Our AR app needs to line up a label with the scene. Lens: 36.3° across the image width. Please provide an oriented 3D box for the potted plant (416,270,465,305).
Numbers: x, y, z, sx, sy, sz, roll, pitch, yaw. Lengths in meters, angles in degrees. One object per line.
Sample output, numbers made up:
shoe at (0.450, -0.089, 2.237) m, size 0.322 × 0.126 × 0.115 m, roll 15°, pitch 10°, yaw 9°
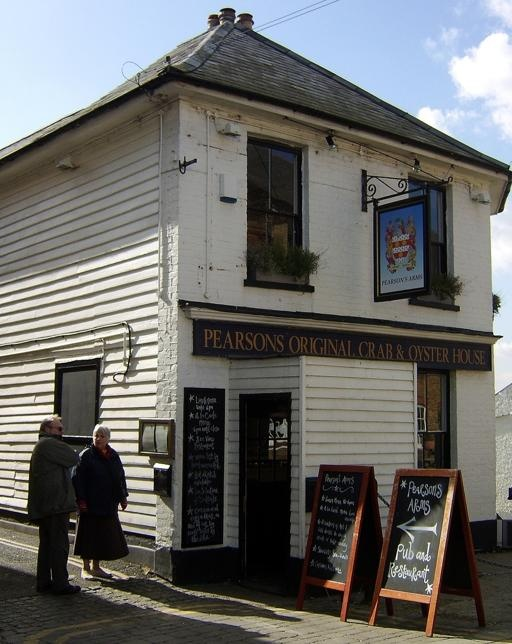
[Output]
potted plant at (2.851, -0.429, 11.979) m, size 0.600 × 0.357 × 0.639 m, roll 3°, pitch -7°, yaw -15°

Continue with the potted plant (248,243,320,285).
potted plant at (0.354, -0.712, 9.691) m, size 1.036 × 0.500 × 0.196 m, roll 6°, pitch -6°, yaw -36°

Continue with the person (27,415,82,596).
person at (-1.978, 1.767, 7.673) m, size 0.595 × 1.662 × 0.346 m, roll 0°, pitch -5°, yaw 27°

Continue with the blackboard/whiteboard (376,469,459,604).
blackboard/whiteboard at (1.417, 1.848, 6.895) m, size 0.650 × 1.084 × 0.557 m, roll -1°, pitch -6°, yaw 36°

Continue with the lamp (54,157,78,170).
lamp at (-2.670, -2.203, 10.935) m, size 0.180 × 0.089 × 0.213 m, roll 6°, pitch -14°, yaw -33°

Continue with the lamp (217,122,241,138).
lamp at (-0.313, -2.276, 9.382) m, size 0.191 × 0.138 × 0.195 m, roll 4°, pitch 0°, yaw 44°

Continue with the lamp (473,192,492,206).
lamp at (3.665, -2.006, 12.659) m, size 0.212 × 0.213 × 0.204 m, roll 2°, pitch -1°, yaw -21°

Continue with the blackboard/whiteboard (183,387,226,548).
blackboard/whiteboard at (-0.580, 1.596, 8.669) m, size 0.581 × 1.720 × 0.169 m, roll 6°, pitch -6°, yaw -38°

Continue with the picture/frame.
picture/frame at (1.850, -0.937, 9.920) m, size 0.126 × 1.733 × 1.215 m, roll 4°, pitch -8°, yaw -29°

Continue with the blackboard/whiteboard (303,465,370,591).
blackboard/whiteboard at (0.736, 1.926, 7.537) m, size 0.390 × 1.111 × 0.723 m, roll 6°, pitch -6°, yaw -38°
